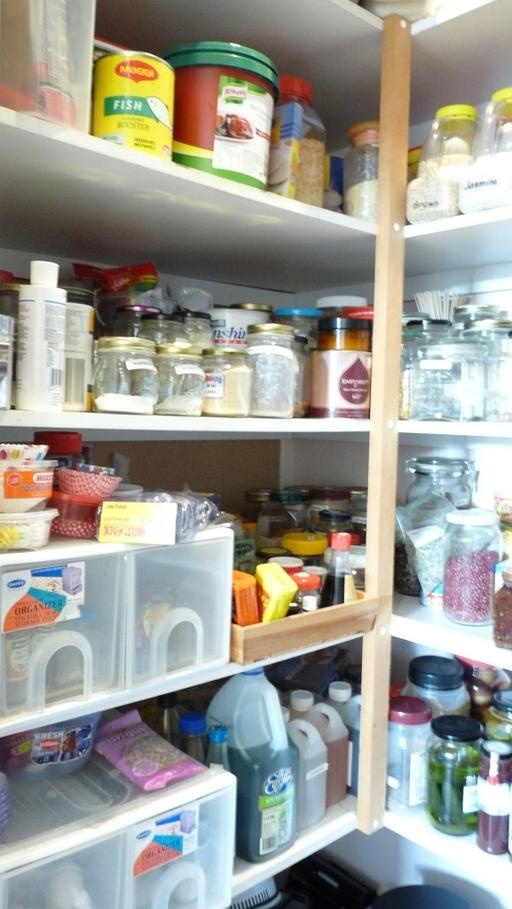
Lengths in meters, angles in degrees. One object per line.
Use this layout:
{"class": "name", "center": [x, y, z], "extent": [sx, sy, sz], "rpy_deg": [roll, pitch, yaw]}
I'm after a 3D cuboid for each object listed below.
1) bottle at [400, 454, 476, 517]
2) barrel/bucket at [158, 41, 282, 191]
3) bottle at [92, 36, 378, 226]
{"class": "bottle", "center": [0.378, 0.051, 1.304], "extent": [0.110, 0.120, 0.107], "rpy_deg": [3, 6, 38]}
{"class": "barrel/bucket", "center": [-0.047, -0.443, 0.932], "extent": [0.170, 0.165, 0.168], "rpy_deg": [2, 7, 0]}
{"class": "bottle", "center": [-0.081, -0.397, 0.837], "extent": [0.177, 0.151, 0.228], "rpy_deg": [15, 14, 43]}
